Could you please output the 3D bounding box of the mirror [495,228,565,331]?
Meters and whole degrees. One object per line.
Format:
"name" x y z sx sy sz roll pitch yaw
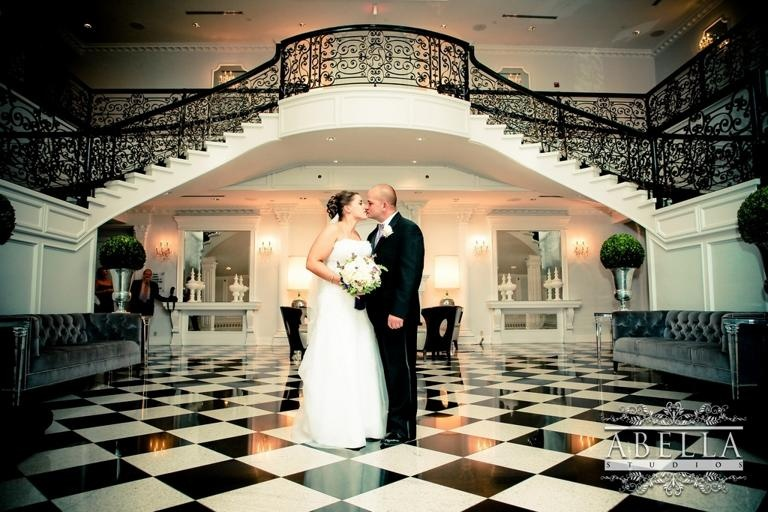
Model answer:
"mirror" 3.732 0.593 13.825 1.643 2.503 0.253 0 -6 0

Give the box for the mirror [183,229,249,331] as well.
"mirror" -4.230 0.589 13.583 1.605 2.482 0.529 1 -6 -11

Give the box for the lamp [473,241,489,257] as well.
"lamp" 2.461 -0.225 13.675 0.367 0.381 0.084 1 -6 -14

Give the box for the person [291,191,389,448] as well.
"person" -0.393 0.579 5.254 0.896 2.442 0.502 1 -6 -8

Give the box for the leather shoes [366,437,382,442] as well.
"leather shoes" -0.106 1.753 5.209 0.141 0.032 0.042 -1 -5 5

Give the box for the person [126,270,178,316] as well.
"person" -5.232 0.854 12.147 0.465 1.340 1.110 -27 -20 28

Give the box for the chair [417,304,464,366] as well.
"chair" 1.081 1.424 10.180 1.148 0.990 1.002 1 0 6

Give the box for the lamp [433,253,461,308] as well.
"lamp" 1.506 0.533 13.029 0.662 1.204 0.791 -1 -6 8

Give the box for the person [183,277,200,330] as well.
"person" -4.769 1.064 13.451 0.461 1.505 0.358 2 -6 -18

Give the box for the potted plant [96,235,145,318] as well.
"potted plant" -4.412 0.268 9.074 0.664 1.301 0.609 3 -6 -26

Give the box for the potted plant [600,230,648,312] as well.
"potted plant" 4.140 0.241 9.386 0.648 1.312 0.541 -5 -8 39

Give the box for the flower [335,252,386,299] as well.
"flower" -0.233 0.185 5.162 0.449 0.286 0.445 -10 7 -24

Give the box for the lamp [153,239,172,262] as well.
"lamp" -5.518 -0.156 13.505 0.407 0.506 0.088 -1 -6 9

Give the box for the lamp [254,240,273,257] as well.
"lamp" -3.010 -0.194 13.496 0.468 0.387 0.148 0 -4 -4

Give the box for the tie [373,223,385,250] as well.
"tie" -0.053 -0.207 5.345 0.085 0.213 0.167 17 -3 -15

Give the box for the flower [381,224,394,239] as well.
"flower" 0.032 -0.251 5.243 0.114 0.100 0.040 0 -8 -8

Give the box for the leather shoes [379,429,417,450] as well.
"leather shoes" 0.141 1.735 5.187 0.400 0.150 0.129 8 -16 -21
